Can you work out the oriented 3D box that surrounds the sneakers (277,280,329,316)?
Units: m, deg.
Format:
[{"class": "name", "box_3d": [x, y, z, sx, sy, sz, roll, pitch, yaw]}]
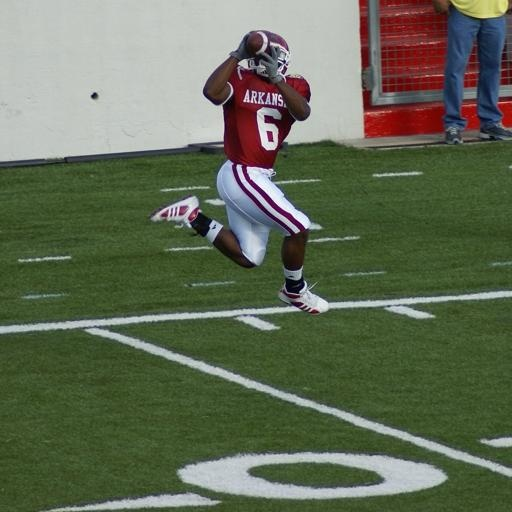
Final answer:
[{"class": "sneakers", "box_3d": [0.278, 0.258, 10.340, 0.265, 0.157, 0.108, 20, -38, -3]}]

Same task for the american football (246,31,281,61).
[{"class": "american football", "box_3d": [0.037, -1.216, 10.055, 0.170, 0.161, 0.124, 17, -26, -20]}]

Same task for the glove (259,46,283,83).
[{"class": "glove", "box_3d": [0.100, -1.085, 10.028, 0.078, 0.186, 0.143, -3, 24, 11]}]

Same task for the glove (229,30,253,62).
[{"class": "glove", "box_3d": [-0.063, -1.182, 10.073, 0.089, 0.167, 0.101, 14, 36, -40]}]

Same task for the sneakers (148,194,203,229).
[{"class": "sneakers", "box_3d": [-0.437, -0.260, 10.337, 0.365, 0.157, 0.127, -24, -3, -2]}]

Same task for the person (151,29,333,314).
[{"class": "person", "box_3d": [-0.025, -0.469, 10.188, 0.897, 1.632, 0.356, 1, 7, 1]}]
